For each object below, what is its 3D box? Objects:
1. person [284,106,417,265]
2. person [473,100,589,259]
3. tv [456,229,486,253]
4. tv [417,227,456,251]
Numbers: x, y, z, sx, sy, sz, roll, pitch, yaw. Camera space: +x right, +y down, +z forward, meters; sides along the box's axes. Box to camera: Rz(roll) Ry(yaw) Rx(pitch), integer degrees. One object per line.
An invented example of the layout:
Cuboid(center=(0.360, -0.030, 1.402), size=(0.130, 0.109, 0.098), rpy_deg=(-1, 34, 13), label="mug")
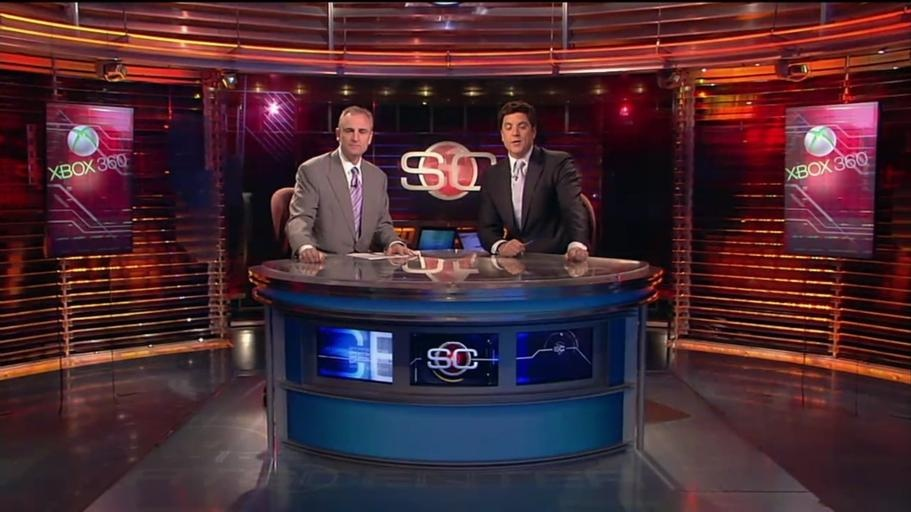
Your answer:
Cuboid(center=(-1.112, -0.709, 5.946), size=(1.035, 1.369, 0.478), rpy_deg=(-5, 10, -15), label="person")
Cuboid(center=(0.723, -0.751, 6.114), size=(1.032, 1.502, 0.778), rpy_deg=(-2, 10, 2), label="person")
Cuboid(center=(0.164, -0.197, 7.913), size=(0.344, 0.262, 0.084), rpy_deg=(-8, -13, 21), label="tv")
Cuboid(center=(-0.244, -0.214, 7.932), size=(0.426, 0.240, 0.043), rpy_deg=(-1, -18, 17), label="tv")
